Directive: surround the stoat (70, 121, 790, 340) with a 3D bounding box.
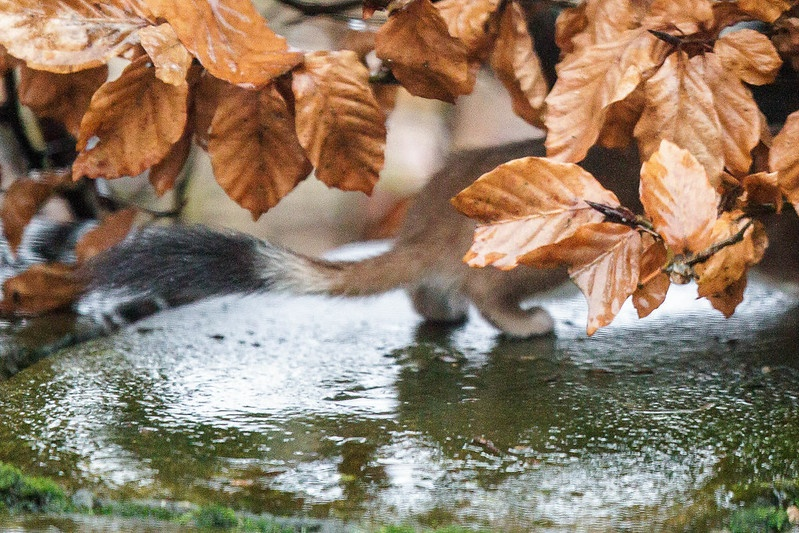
[{"bbox_3d":[0.017,-0.026,0.813,0.408,0.113,0.077,-2,47,-1],"label":"stoat"}]
